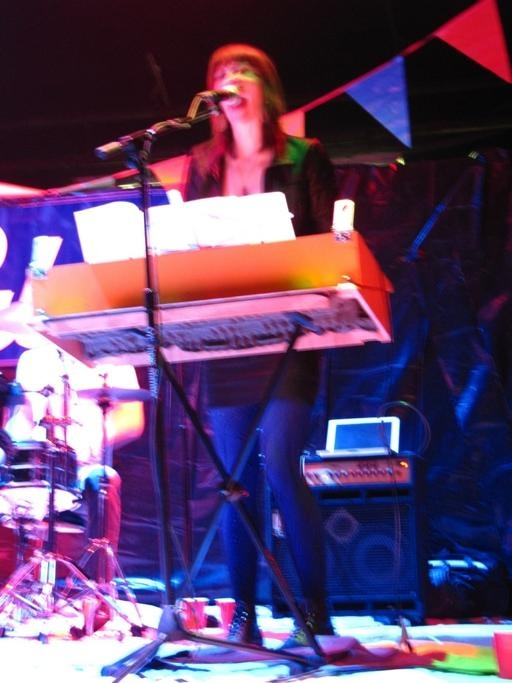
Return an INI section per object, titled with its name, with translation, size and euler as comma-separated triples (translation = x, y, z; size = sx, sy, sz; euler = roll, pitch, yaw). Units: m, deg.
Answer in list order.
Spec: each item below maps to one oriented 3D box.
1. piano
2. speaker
[piano]
translation = -0.084, -0.072, 1.452
size = 0.705, 0.222, 0.314
euler = -2, -3, 8
[speaker]
translation = 0.385, 0.668, 2.258
size = 0.411, 0.399, 0.107
euler = 1, 5, 20
